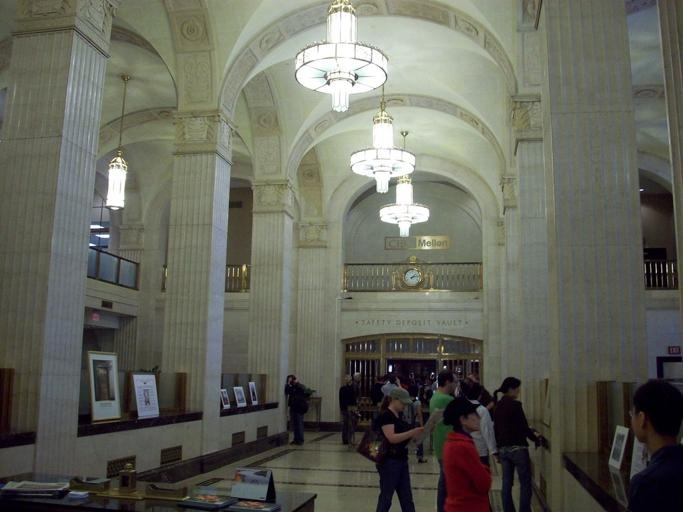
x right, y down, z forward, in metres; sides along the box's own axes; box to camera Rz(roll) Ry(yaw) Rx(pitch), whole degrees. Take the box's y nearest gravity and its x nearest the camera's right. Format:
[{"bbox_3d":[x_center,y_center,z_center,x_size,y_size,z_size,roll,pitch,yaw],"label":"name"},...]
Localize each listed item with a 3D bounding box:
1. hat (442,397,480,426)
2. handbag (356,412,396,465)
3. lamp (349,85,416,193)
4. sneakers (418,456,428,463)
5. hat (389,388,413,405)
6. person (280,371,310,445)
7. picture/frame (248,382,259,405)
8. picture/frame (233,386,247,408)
[{"bbox_3d":[0.819,1.084,4.023,0.210,0.182,0.169,-1,-9,0],"label":"hat"},{"bbox_3d":[0.303,1.681,5.383,0.347,0.509,0.159,24,-10,-14],"label":"handbag"},{"bbox_3d":[0.903,-2.413,12.443,1.372,2.005,1.390,2,-5,-11],"label":"lamp"},{"bbox_3d":[1.532,3.873,10.931,0.102,0.125,0.286,2,-2,20],"label":"sneakers"},{"bbox_3d":[0.547,1.291,5.321,0.194,0.114,0.144,12,0,-2],"label":"hat"},{"bbox_3d":[-1.033,3.530,13.281,0.494,1.532,0.764,5,-11,-35],"label":"person"},{"bbox_3d":[-1.883,2.900,12.091,0.047,0.494,0.412,-14,-15,14],"label":"picture/frame"},{"bbox_3d":[-2.045,2.803,11.407,0.053,0.329,0.434,-15,-5,13],"label":"picture/frame"}]
